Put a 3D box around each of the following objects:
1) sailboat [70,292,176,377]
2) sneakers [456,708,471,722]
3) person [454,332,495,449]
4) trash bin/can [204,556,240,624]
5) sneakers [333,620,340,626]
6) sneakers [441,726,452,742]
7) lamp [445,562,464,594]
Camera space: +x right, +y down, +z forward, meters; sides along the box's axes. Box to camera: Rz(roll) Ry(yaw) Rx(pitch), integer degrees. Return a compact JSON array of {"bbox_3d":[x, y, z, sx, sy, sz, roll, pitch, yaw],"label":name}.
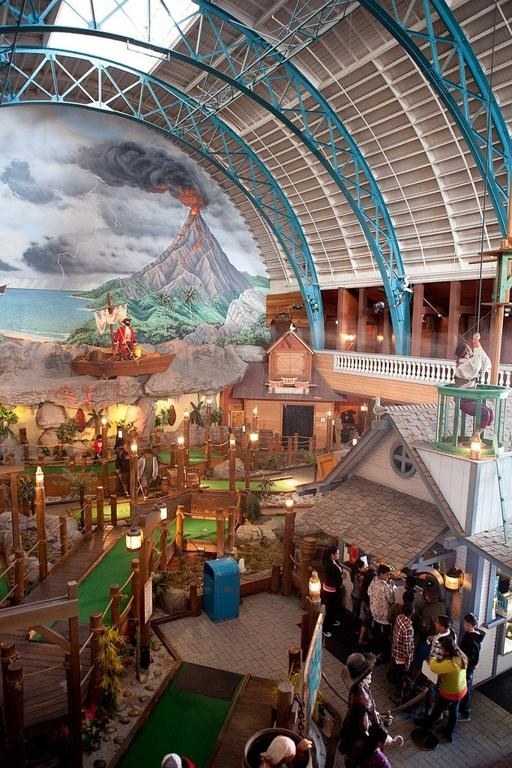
[{"bbox_3d":[-7.420,-2.619,26.013,5.127,4.343,2.646,-4,4,28],"label":"sailboat"},{"bbox_3d":[3.292,5.293,7.610,0.092,0.114,0.271,13,15,43],"label":"sneakers"},{"bbox_3d":[3.818,0.181,8.337,0.485,1.738,0.644,-10,4,-42],"label":"person"},{"bbox_3d":[-0.750,4.684,10.867,0.779,1.209,0.727,0,0,-17],"label":"trash bin/can"},{"bbox_3d":[1.734,5.203,10.442,0.108,0.111,0.036,6,-2,-5],"label":"sneakers"},{"bbox_3d":[2.894,5.276,7.297,0.161,0.140,0.269,0,0,20],"label":"sneakers"},{"bbox_3d":[3.374,3.273,8.085,0.329,0.473,0.463,0,-3,22],"label":"lamp"}]
